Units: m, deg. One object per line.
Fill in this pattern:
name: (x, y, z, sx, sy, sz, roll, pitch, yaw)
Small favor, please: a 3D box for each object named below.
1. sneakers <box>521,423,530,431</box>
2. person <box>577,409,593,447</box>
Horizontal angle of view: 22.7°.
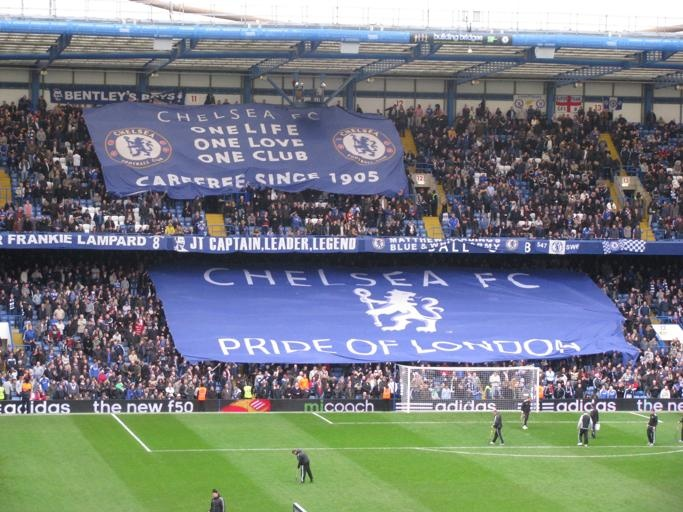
sneakers: (9.430, 8.696, 87.411, 0.281, 0.221, 0.406, 1, 2, 0)
person: (12.198, 8.448, 85.269, 0.685, 1.640, 1.836, 0, 6, 9)
